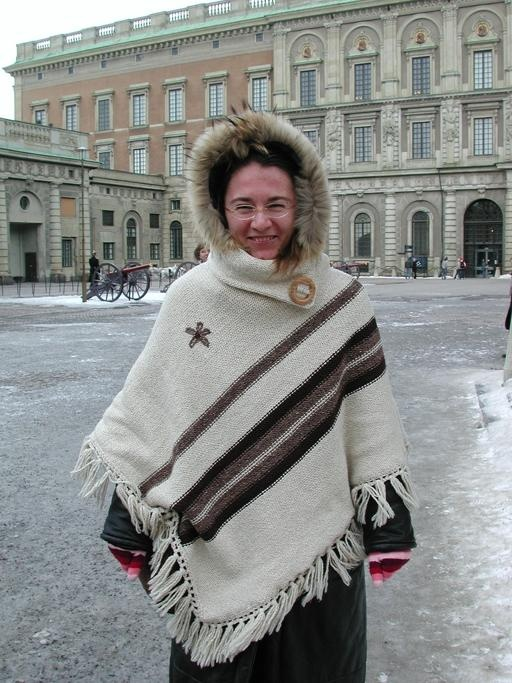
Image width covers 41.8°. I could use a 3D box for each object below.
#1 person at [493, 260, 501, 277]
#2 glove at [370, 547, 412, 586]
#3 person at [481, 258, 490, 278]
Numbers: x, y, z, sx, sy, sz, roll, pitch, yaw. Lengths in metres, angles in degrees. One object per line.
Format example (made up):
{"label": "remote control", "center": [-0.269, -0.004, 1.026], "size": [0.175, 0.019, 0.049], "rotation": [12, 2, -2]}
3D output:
{"label": "person", "center": [16.674, -5.057, 46.545], "size": [0.416, 1.211, 1.301], "rotation": [1, 6, 19]}
{"label": "glove", "center": [0.279, 0.460, 1.387], "size": [0.081, 0.058, 0.029], "rotation": [-14, 34, -8]}
{"label": "person", "center": [16.145, -5.208, 47.575], "size": [0.512, 1.308, 0.374], "rotation": [1, 7, 19]}
